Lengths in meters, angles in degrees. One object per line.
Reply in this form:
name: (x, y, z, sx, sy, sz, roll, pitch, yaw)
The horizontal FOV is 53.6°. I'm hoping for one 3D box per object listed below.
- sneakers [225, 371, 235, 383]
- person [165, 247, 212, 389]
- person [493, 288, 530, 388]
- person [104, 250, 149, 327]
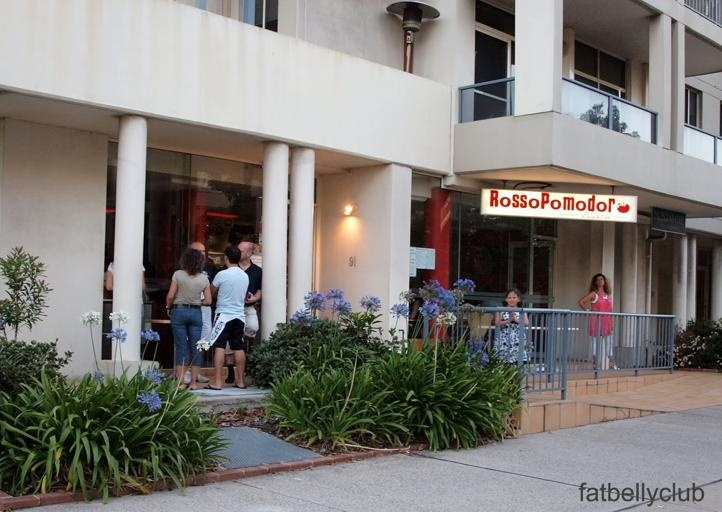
sneakers: (-2.057, 1.935, 11.292, 0.191, 0.207, 0.094, 2, -8, -2)
person: (-2.491, 0.954, 10.350, 0.616, 2.126, 1.424, 2, 3, -12)
person: (2.211, 1.081, 10.597, 0.447, 1.233, 0.369, 3, 16, 9)
person: (-3.777, 0.645, 11.466, 0.701, 1.163, 1.800, 2, 3, -18)
